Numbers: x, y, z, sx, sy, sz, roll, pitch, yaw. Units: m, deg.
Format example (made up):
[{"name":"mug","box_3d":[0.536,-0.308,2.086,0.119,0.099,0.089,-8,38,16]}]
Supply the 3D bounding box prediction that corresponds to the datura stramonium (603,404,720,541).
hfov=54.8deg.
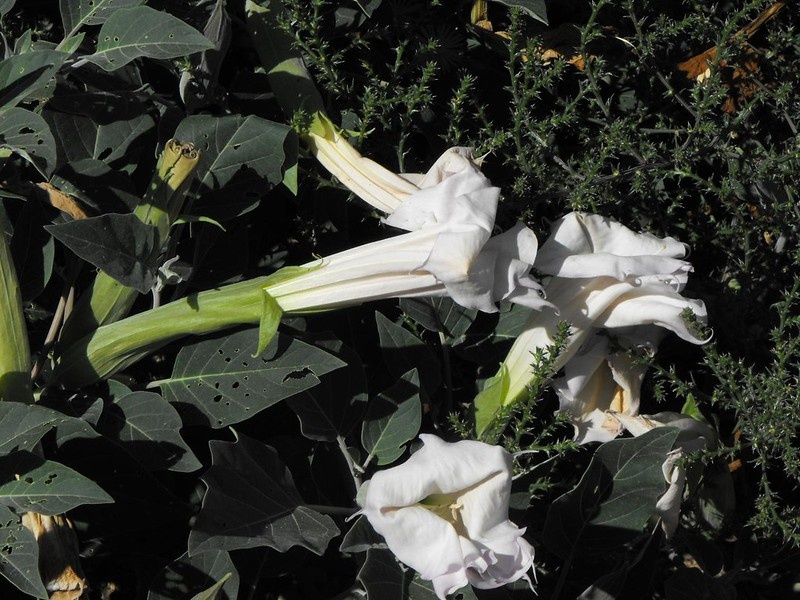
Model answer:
[{"name":"datura stramonium","box_3d":[0.346,0.204,0.974,0.062,0.153,0.154,-15,40,8]}]
